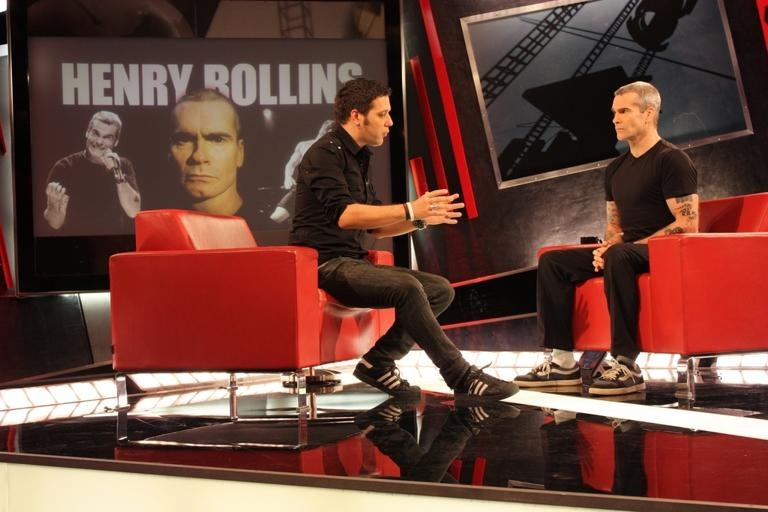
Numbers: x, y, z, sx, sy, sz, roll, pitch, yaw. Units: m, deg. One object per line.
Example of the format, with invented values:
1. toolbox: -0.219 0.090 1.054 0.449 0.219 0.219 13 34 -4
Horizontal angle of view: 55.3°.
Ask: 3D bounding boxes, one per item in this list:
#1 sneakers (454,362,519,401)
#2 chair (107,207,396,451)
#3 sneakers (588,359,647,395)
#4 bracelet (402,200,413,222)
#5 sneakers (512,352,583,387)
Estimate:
1. sneakers: 0.539 0.674 3.909 0.178 0.194 0.422 -4 -7 -45
2. chair: -0.659 0.336 4.303 1.088 1.125 1.492 -2 -1 18
3. sneakers: 1.310 0.670 4.100 0.423 0.161 0.150 -1 1 -31
4. bracelet: 0.131 -0.253 3.862 0.057 0.083 0.085 -2 44 3
5. sneakers: 0.991 0.668 4.324 0.443 0.188 0.168 -7 -4 44
